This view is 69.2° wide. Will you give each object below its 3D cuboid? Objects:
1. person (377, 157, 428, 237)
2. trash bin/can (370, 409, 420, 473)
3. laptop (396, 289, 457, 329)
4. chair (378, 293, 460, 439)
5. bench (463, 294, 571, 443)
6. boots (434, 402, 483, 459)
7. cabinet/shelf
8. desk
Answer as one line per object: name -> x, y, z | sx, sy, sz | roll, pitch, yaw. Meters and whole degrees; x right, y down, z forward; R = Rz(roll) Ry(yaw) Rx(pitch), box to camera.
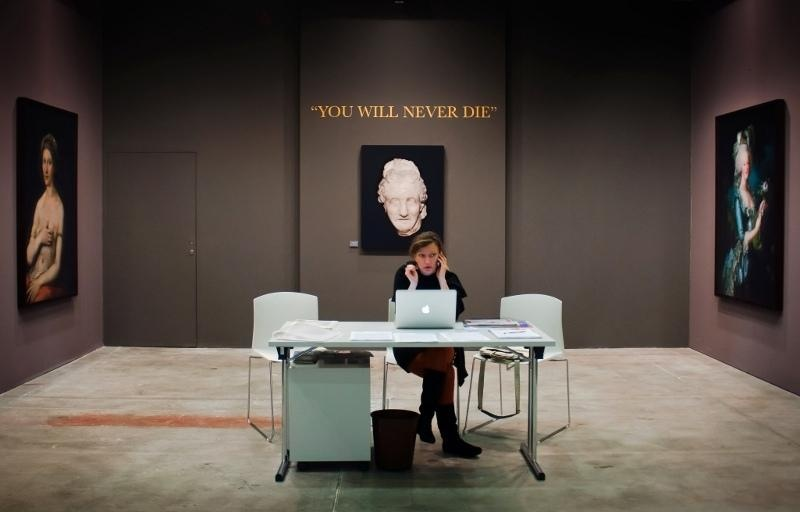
person -> 0.057, -0.901, 8.708 | 0.766, 1.149, 0.771 | 6, 27, 17
trash bin/can -> -0.156, 1.720, 5.261 | 0.554, 0.507, 0.521 | 3, -15, -23
laptop -> 0.217, 0.473, 5.384 | 0.594, 0.381, 0.449 | 0, 6, -2
chair -> 0.224, 1.410, 6.335 | 0.807, 0.809, 1.305 | -13, -35, 26
bench -> 1.108, 1.523, 6.227 | 0.939, 1.359, 1.065 | -18, 20, -15
boots -> 0.522, 1.587, 5.337 | 0.494, 0.516, 0.242 | -3, 3, 38
cabinet/shelf -> -0.728, 1.566, 5.264 | 0.861, 0.829, 0.609 | 8, -31, -25
desk -> 0.088, 1.352, 5.315 | 2.430, 1.327, 1.290 | 0, 1, 2
